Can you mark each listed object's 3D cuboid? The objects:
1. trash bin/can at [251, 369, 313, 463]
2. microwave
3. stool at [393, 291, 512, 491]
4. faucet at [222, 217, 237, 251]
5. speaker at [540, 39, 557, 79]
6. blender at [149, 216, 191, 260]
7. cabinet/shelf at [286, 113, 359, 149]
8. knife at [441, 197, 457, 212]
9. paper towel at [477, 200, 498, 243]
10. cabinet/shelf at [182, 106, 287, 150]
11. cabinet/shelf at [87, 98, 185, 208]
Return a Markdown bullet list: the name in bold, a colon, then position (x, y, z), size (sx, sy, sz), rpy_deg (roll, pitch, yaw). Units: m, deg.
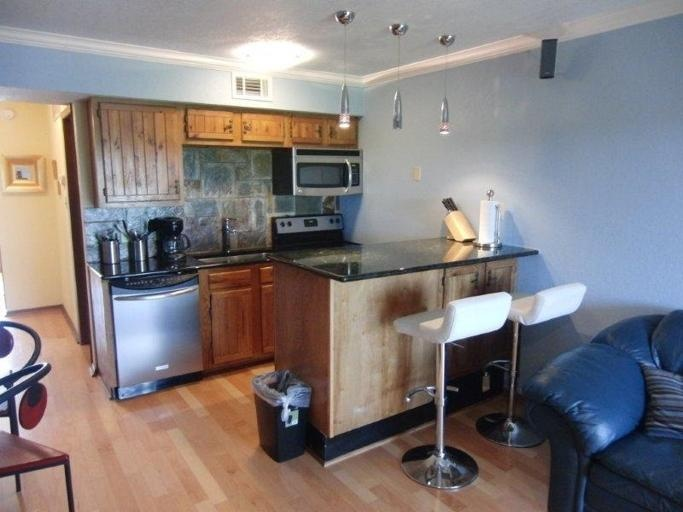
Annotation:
- **trash bin/can**: position (-0.421, 1.099, 3.611), size (0.316, 0.525, 0.363), rpy_deg (-9, 12, -35)
- **microwave**: position (-0.193, -0.846, 5.347), size (0.799, 0.463, 0.506), rpy_deg (-3, 10, -22)
- **stool**: position (0.690, 0.832, 3.371), size (0.612, 1.211, 0.468), rpy_deg (-9, 12, -31)
- **faucet**: position (-1.128, -0.200, 5.121), size (0.130, 0.330, 0.256), rpy_deg (-2, 10, 3)
- **speaker**: position (1.518, -1.446, 3.841), size (0.108, 0.275, 0.138), rpy_deg (3, 12, 26)
- **blender**: position (-1.589, -0.158, 4.799), size (0.375, 0.348, 0.246), rpy_deg (3, 7, 13)
- **cabinet/shelf**: position (-0.171, -1.226, 5.300), size (0.712, 0.313, 0.089), rpy_deg (0, 13, -9)
- **knife**: position (0.945, -0.443, 4.573), size (0.091, 0.041, 0.141), rpy_deg (-5, 34, -19)
- **paper towel**: position (1.177, -0.261, 4.196), size (0.159, 0.350, 0.134), rpy_deg (1, 11, 15)
- **cabinet/shelf**: position (-0.987, -1.168, 4.852), size (0.947, 0.300, 0.210), rpy_deg (-4, 11, -27)
- **cabinet/shelf**: position (-1.751, -0.867, 4.353), size (0.844, 0.988, 0.519), rpy_deg (-5, 11, -37)
